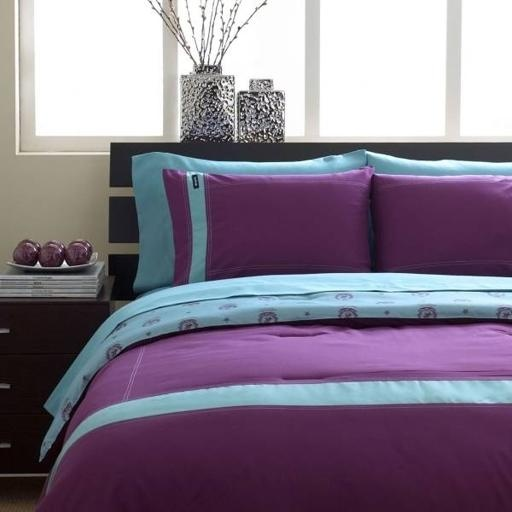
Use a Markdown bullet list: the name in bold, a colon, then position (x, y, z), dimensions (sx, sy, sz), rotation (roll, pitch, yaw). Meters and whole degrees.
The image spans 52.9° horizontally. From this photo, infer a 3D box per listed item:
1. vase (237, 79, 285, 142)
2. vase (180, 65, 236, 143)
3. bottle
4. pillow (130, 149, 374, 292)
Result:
- **vase**: position (0.016, -0.667, 2.375), dimensions (0.227, 0.274, 0.163), rotation (-2, 14, -7)
- **vase**: position (-0.219, -0.671, 2.313), dimensions (0.265, 0.328, 0.147), rotation (-5, 14, -3)
- **bottle**: position (0.017, -0.667, 2.374), dimensions (0.230, 0.276, 0.167), rotation (-1, 11, -4)
- **pillow**: position (0.123, -0.166, 2.173), dimensions (0.784, 0.468, 0.128), rotation (0, 4, 30)
